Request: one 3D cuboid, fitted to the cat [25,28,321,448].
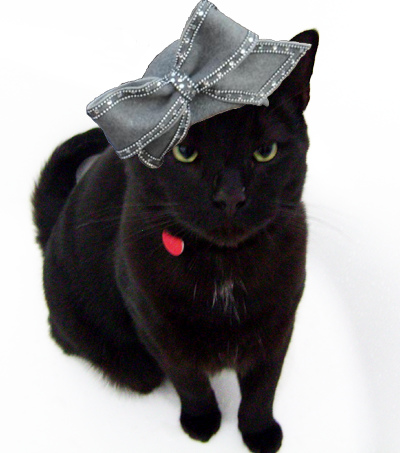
[{"bbox_3d":[-0.253,-0.135,1.761,0.518,1.099,0.804,-15,-55,-18],"label":"cat"}]

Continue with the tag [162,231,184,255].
[{"bbox_3d":[-0.054,0.033,1.405,0.045,0.042,0.042,3,-24,3],"label":"tag"}]

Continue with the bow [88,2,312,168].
[{"bbox_3d":[0.001,-0.252,1.209,0.340,0.233,0.165,-7,-27,23],"label":"bow"}]
